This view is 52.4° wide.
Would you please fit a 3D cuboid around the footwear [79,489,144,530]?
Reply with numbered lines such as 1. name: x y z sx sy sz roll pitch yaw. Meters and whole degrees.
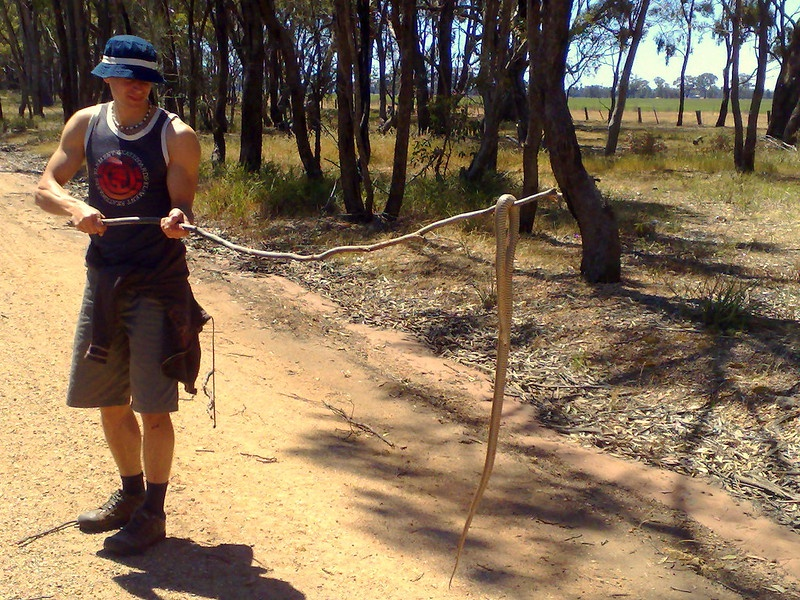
1. footwear: -1.949 1.440 5.475 0.506 0.243 0.252 -7 17 -28

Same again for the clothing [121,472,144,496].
1. clothing: -1.806 1.249 5.505 0.136 0.161 0.115 3 -3 -21

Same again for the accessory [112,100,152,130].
1. accessory: -1.719 -1.191 5.258 0.262 0.168 0.169 -4 18 -18

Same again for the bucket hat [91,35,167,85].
1. bucket hat: -1.752 -1.581 5.326 0.508 0.302 0.477 4 7 -2

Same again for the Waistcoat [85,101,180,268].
1. Waistcoat: -1.754 -0.748 5.289 0.635 0.997 0.445 1 16 -3
